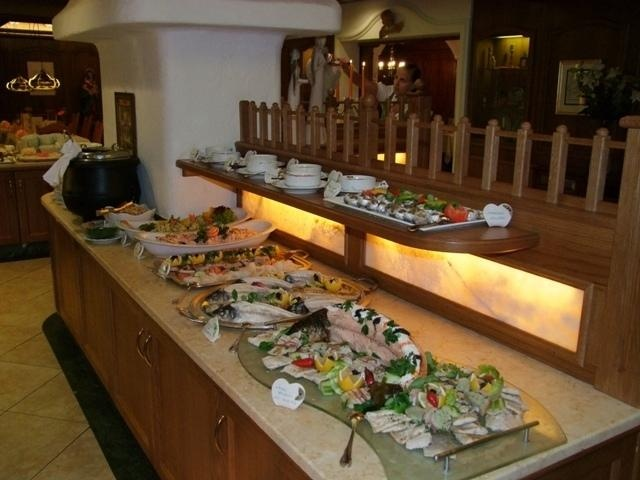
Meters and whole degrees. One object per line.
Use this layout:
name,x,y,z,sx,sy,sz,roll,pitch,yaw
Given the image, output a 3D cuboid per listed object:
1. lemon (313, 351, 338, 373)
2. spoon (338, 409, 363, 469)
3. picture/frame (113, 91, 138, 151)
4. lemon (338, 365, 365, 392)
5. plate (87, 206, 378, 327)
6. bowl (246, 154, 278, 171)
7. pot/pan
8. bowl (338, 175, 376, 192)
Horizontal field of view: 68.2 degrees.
lemon,0.013,0.409,1.596,0.064,0.048,0.132,-5,15,-20
spoon,0.082,0.539,1.275,0.033,0.020,0.140,3,28,19
picture/frame,-1.569,-0.971,3.828,0.038,0.499,0.458,-9,20,-39
lemon,0.097,0.440,1.472,0.072,0.057,0.070,-13,19,-42
plate,-0.511,0.114,2.603,0.651,0.172,1.223,-14,26,-41
bowl,-0.327,-0.472,2.725,0.124,0.046,0.131,2,22,-1
pot/pan,-1.665,-0.501,3.738,0.514,0.479,0.518,12,19,29
bowl,0.187,-0.260,2.177,0.154,0.070,0.227,6,15,21
